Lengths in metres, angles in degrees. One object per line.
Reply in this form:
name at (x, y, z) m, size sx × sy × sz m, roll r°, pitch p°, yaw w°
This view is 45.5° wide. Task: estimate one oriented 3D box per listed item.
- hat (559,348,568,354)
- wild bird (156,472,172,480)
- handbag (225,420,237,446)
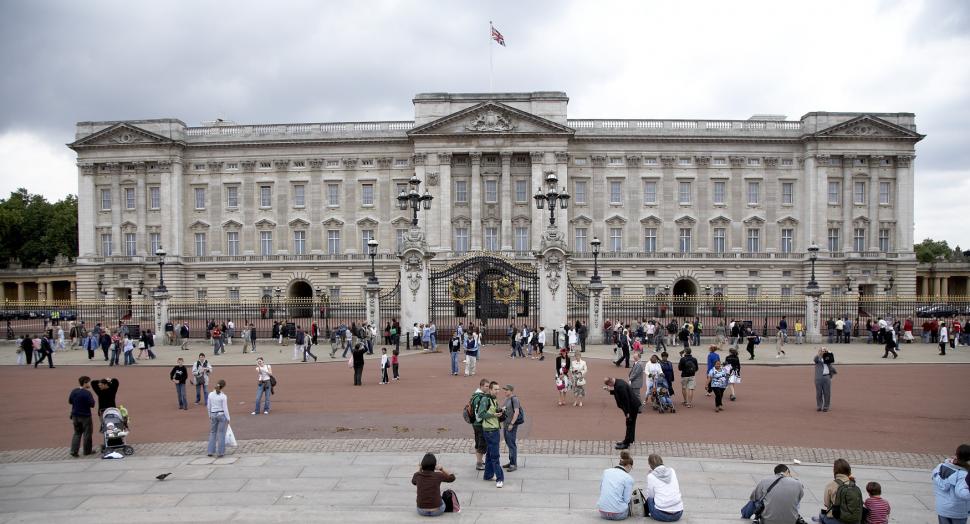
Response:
hat at (6.145, 6.856, 90.385) m, size 0.617 × 0.277 × 0.689 m, roll 0°, pitch 2°, yaw -16°
wild bird at (-23.557, 15.600, 84.846) m, size 1.193 × 0.427 × 0.373 m, roll -18°, pitch -20°, yaw 2°
handbag at (-18.960, 12.753, 86.694) m, size 0.745 × 1.771 × 1.518 m, roll -2°, pitch 14°, yaw -5°
